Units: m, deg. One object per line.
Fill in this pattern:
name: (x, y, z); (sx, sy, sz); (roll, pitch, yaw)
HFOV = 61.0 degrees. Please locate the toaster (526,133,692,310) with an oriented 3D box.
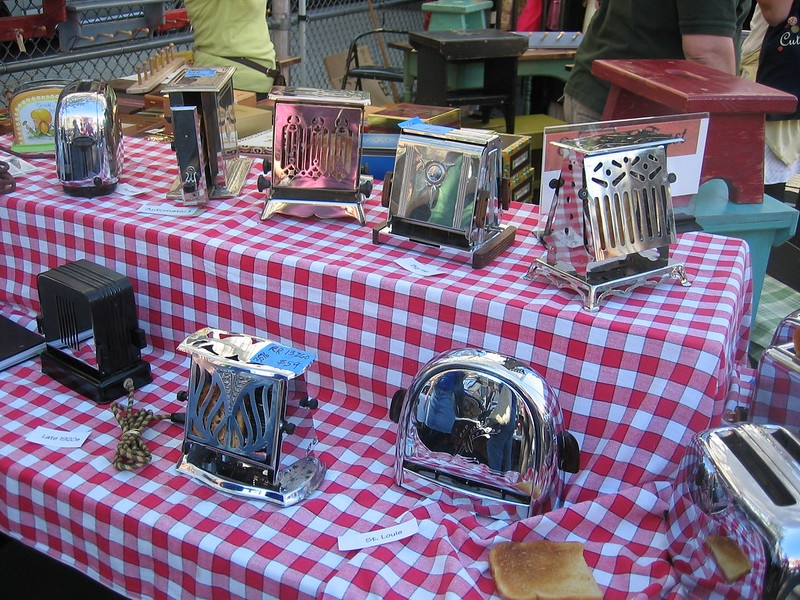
toaster: (0.544, -0.232, 1.771); (0.306, 0.393, 0.277); (-14, 25, -21)

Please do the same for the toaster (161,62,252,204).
toaster: (-0.605, -0.556, 2.218); (0.218, 0.388, 0.526); (2, 33, -3)

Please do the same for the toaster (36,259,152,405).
toaster: (-0.903, 0.081, 1.971); (0.312, 0.339, 0.202); (17, 28, 18)

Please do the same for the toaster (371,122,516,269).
toaster: (0.128, -0.316, 1.937); (0.335, 0.352, 0.244); (16, 31, 26)

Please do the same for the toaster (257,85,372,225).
toaster: (-0.267, -0.414, 2.177); (0.337, 0.401, 0.310); (2, -3, -3)

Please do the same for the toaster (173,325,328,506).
toaster: (-0.398, 0.274, 1.675); (0.306, 0.323, 0.223); (12, 19, 5)

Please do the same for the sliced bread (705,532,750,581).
sliced bread: (0.639, 0.509, 1.338); (0.020, 0.070, 0.070); (-26, -7, 24)

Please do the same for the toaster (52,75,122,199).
toaster: (-1.029, -0.537, 2.213); (0.193, 0.345, 0.188); (0, 33, -16)

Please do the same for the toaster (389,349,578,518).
toaster: (0.196, 0.323, 1.561); (0.275, 0.238, 0.133); (17, 31, 20)
